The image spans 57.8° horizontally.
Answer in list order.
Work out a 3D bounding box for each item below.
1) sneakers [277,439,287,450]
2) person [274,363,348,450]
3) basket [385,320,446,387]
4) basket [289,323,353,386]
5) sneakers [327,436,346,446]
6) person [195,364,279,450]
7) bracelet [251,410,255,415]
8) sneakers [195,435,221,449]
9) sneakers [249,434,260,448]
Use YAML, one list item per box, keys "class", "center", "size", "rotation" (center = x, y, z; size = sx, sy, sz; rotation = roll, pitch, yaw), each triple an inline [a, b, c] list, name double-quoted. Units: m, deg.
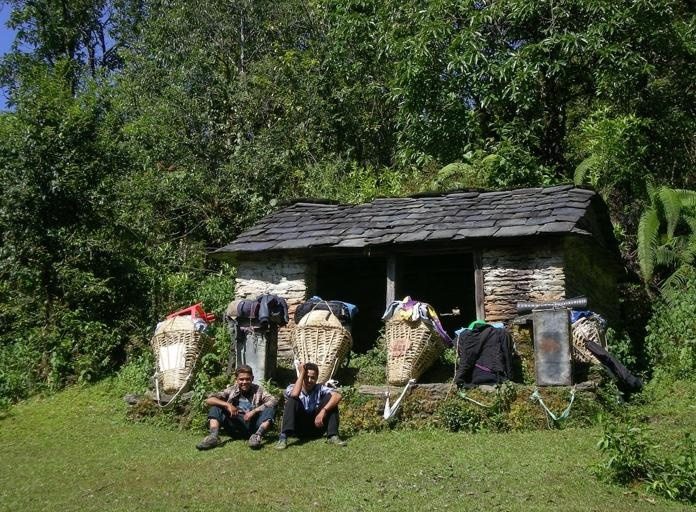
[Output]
- class: "sneakers"
  center: [-0.985, 2.763, 9.326]
  size: [0.154, 0.126, 0.285]
  rotation: [-4, 5, -5]
- class: "person"
  center: [-0.616, 2.251, 9.639]
  size: [0.957, 1.205, 1.356]
  rotation: [1, -10, -10]
- class: "basket"
  center: [1.032, 1.661, 11.147]
  size: [1.104, 0.878, 1.099]
  rotation: [-4, -49, 32]
- class: "basket"
  center: [-0.461, 1.780, 11.260]
  size: [1.058, 0.819, 1.086]
  rotation: [-10, 24, 11]
- class: "sneakers"
  center: [-0.191, 2.758, 9.431]
  size: [0.116, 0.126, 0.284]
  rotation: [10, -17, -36]
- class: "person"
  center: [-1.655, 2.300, 9.714]
  size: [0.987, 1.120, 1.450]
  rotation: [2, -3, 6]
- class: "bracelet"
  center: [-1.466, 2.387, 9.662]
  size: [0.039, 0.058, 0.015]
  rotation: [9, -9, 33]
- class: "sneakers"
  center: [-2.122, 2.855, 9.620]
  size: [0.401, 0.190, 0.166]
  rotation: [-4, -27, -7]
- class: "sneakers"
  center: [-1.391, 2.756, 9.389]
  size: [0.178, 0.183, 0.243]
  rotation: [-4, 6, -8]
